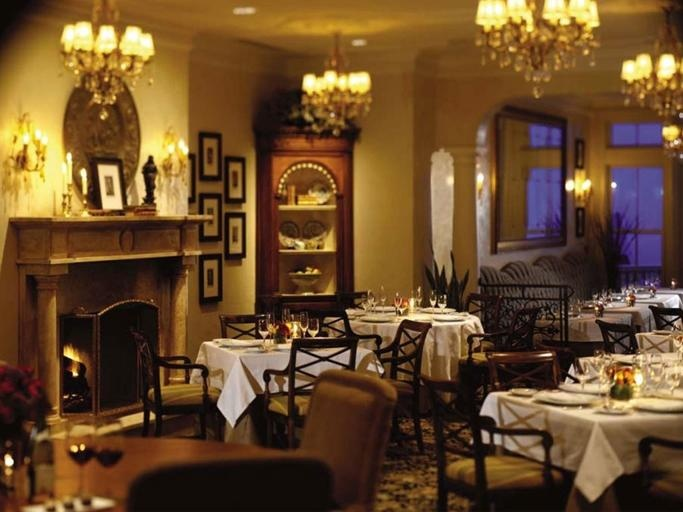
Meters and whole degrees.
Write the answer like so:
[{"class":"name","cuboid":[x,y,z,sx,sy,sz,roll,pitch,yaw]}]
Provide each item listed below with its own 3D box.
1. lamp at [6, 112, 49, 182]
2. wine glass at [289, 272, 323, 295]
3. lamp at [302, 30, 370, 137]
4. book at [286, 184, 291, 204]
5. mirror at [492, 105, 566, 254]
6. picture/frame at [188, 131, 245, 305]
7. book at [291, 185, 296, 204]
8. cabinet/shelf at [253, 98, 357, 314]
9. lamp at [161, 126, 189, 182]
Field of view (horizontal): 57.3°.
[{"class":"lamp","cuboid":[-2.860,-1.024,5.753,0.123,0.624,0.428,-2,0,24]},{"class":"wine glass","cuboid":[-0.532,0.444,9.301,0.327,0.242,0.352,0,-5,3]},{"class":"lamp","cuboid":[-0.095,-2.215,7.859,1.014,1.630,1.092,0,-1,-3]},{"class":"book","cuboid":[-0.766,-0.889,9.031,0.082,0.254,0.248,0,-1,-4]},{"class":"mirror","cuboid":[3.734,-1.465,12.318,2.847,2.663,0.131,-6,7,-44]},{"class":"picture/frame","cuboid":[-1.639,-0.489,8.412,0.253,2.343,1.051,-2,0,26]},{"class":"book","cuboid":[-0.698,-0.889,9.044,0.089,0.280,0.271,0,-1,-2]},{"class":"cabinet/shelf","cuboid":[-0.509,-0.288,9.023,1.337,3.089,0.791,0,-5,-5]},{"class":"lamp","cuboid":[-1.962,-1.199,7.286,0.180,0.668,0.630,0,1,15]}]
